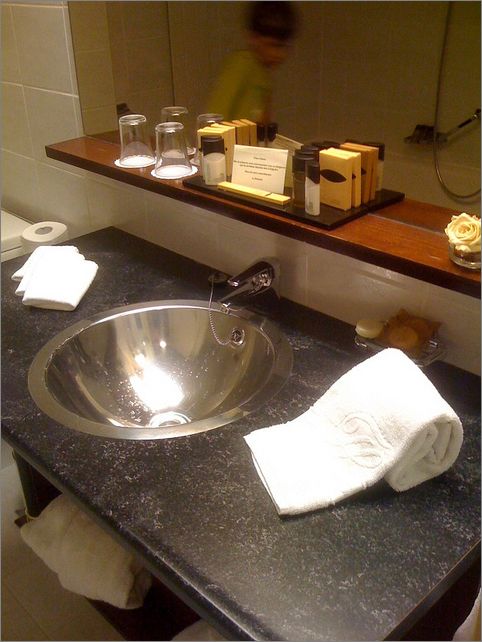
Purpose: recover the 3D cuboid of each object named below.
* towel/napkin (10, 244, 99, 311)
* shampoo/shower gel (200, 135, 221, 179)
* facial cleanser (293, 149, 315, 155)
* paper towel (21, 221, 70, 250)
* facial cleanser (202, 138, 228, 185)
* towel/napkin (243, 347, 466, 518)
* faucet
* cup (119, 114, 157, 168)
[{"bbox_3d":[-0.456,-0.087,1.188,0.167,0.052,0.178,8,38,15],"label":"towel/napkin"},{"bbox_3d":[-0.060,-0.341,1.004,0.047,0.082,0.051,-12,39,-14],"label":"shampoo/shower gel"},{"bbox_3d":[0.116,-0.302,0.869,0.020,0.006,0.027,-1,28,0],"label":"facial cleanser"},{"bbox_3d":[-0.643,-0.285,1.589,0.128,0.082,0.129,0,29,-4],"label":"paper towel"},{"bbox_3d":[-0.057,-0.344,1.035,0.053,0.097,0.061,-11,34,-9],"label":"facial cleanser"},{"bbox_3d":[0.157,0.180,0.679,0.264,0.115,0.189,-15,32,-9],"label":"towel/napkin"},{"bbox_3d":[0.036,-0.094,1.063,0.169,0.061,0.066,-36,55,-28],"label":"faucet"},{"bbox_3d":[-0.256,-0.456,1.266,0.121,0.133,0.127,-1,36,1],"label":"cup"}]
